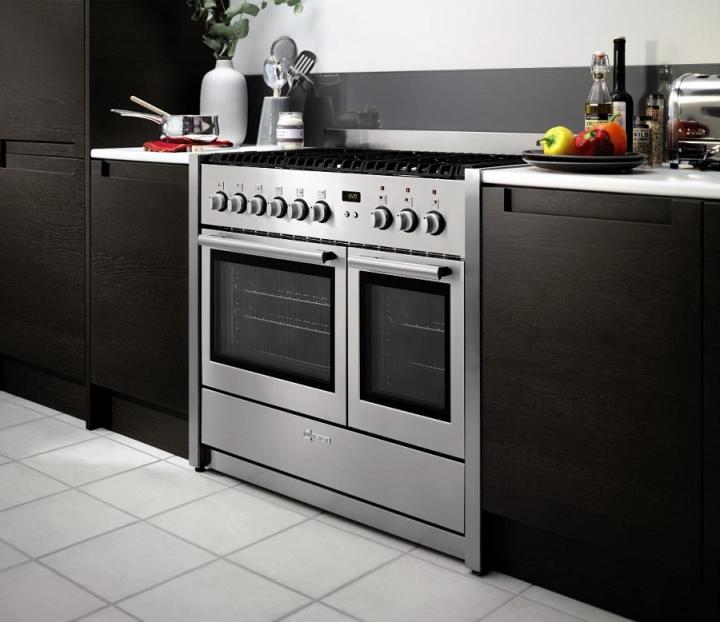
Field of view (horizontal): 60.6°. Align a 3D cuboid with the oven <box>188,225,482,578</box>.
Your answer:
[{"bbox_3d":[0.019,0.177,2.171,1.046,0.877,0.606,10,8,20],"label":"oven"}]

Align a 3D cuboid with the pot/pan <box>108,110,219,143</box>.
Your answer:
[{"bbox_3d":[-0.820,-0.777,2.561,0.413,0.144,0.337,7,12,35],"label":"pot/pan"}]

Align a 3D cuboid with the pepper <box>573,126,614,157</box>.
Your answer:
[{"bbox_3d":[0.617,-0.445,1.620,0.068,0.092,0.071,-23,16,-13],"label":"pepper"}]

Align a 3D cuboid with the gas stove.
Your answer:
[{"bbox_3d":[-0.089,-0.357,1.935,1.120,0.326,0.165,7,11,37],"label":"gas stove"}]

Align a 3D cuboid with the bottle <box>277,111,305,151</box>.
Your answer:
[{"bbox_3d":[-0.283,-0.748,2.583,0.126,0.158,0.136,0,4,0],"label":"bottle"}]
